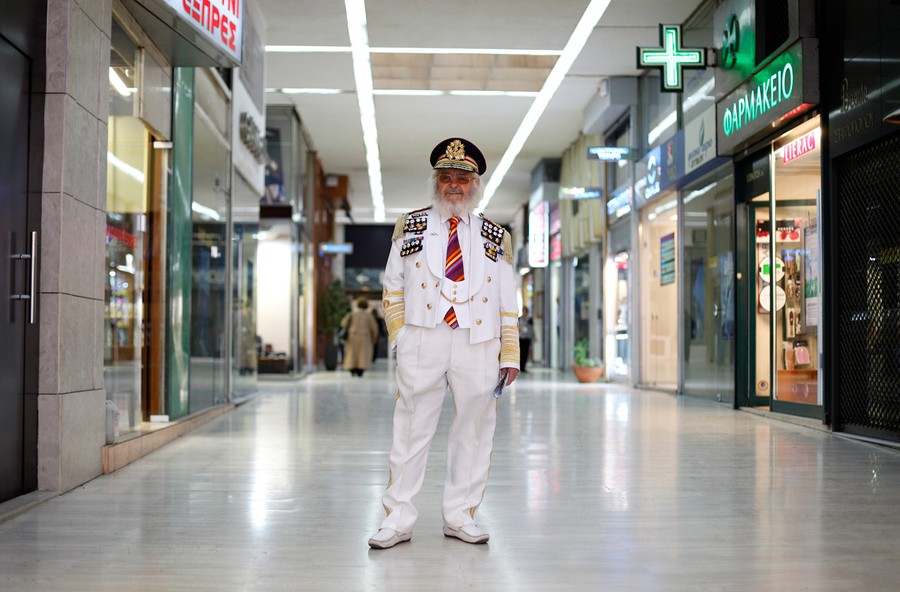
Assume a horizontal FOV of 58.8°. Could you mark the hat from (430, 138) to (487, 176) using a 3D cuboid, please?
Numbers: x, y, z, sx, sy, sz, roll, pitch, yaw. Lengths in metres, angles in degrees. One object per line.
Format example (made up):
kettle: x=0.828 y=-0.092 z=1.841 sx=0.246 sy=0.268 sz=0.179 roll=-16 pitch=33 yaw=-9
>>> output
hat: x=0.035 y=-0.847 z=4.905 sx=0.328 sy=0.199 sz=0.383 roll=7 pitch=-4 yaw=2

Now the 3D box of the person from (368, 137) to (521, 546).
person: x=-0.022 y=0.256 z=4.788 sx=0.848 sy=2.422 sz=0.347 roll=0 pitch=-1 yaw=5

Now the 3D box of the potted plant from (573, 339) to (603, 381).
potted plant: x=2.851 y=1.389 z=16.962 sx=0.686 sy=0.989 sz=0.726 roll=1 pitch=-10 yaw=4

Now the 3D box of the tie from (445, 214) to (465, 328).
tie: x=0.021 y=-0.158 z=4.749 sx=0.113 sy=0.653 sz=0.139 roll=0 pitch=-1 yaw=0

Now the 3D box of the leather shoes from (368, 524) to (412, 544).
leather shoes: x=-0.363 y=1.416 z=4.734 sx=0.097 sy=0.126 sz=0.292 roll=-2 pitch=-7 yaw=42

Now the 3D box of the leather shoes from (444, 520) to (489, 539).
leather shoes: x=0.091 y=1.410 z=4.825 sx=0.277 sy=0.113 sz=0.102 roll=-2 pitch=-4 yaw=39
